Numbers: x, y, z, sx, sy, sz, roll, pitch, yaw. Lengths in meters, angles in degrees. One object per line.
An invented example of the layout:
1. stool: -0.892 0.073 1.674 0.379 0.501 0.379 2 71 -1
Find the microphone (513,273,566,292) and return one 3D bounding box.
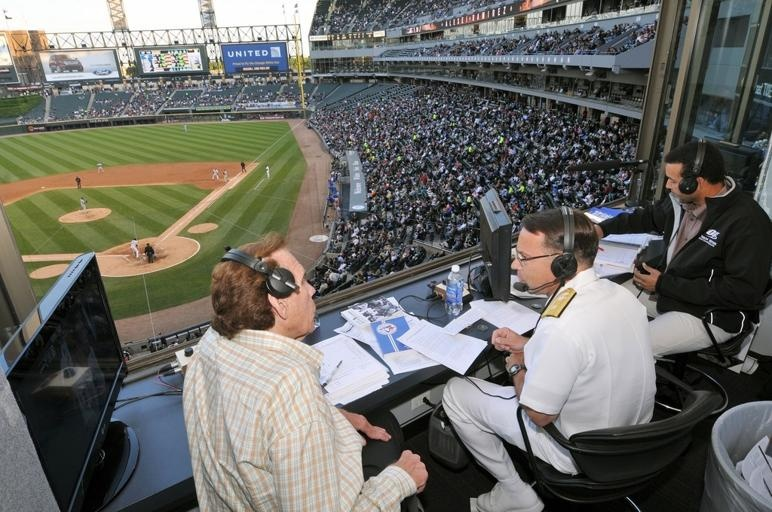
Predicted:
1. microphone: 1.035 0.174 3.498 0.184 0.071 0.134 -13 17 7

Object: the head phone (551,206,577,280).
1. head phone: 1.100 -0.032 2.881 0.134 0.350 0.392 10 5 23

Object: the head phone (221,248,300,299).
1. head phone: -0.687 0.087 2.568 0.415 0.372 0.158 -9 49 62
